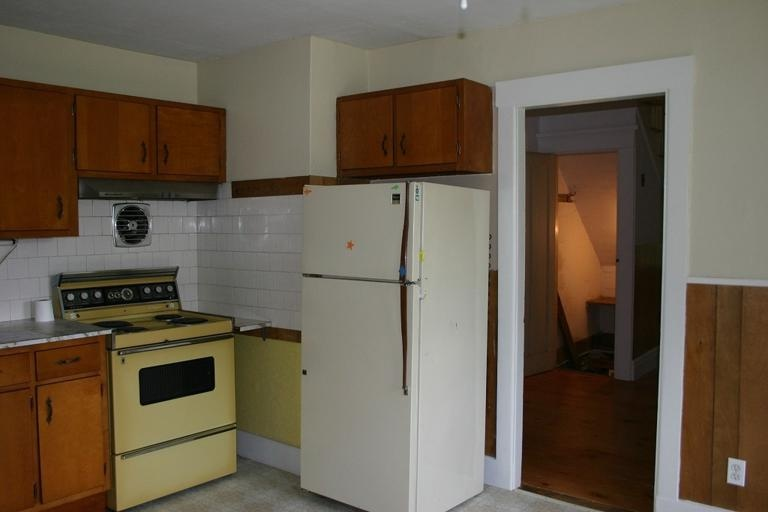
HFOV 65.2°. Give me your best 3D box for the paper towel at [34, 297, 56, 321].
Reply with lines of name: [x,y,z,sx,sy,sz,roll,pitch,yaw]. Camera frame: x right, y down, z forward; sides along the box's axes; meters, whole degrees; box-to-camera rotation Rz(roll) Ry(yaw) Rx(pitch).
paper towel: [-2.640,0.406,4.675,0.150,0.154,0.155,-3,8,-30]

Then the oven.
oven: [-1.756,1.208,5.227,1.043,1.490,1.250,-2,0,42]

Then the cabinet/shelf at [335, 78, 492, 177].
cabinet/shelf: [0.270,-1.007,4.788,0.839,0.477,0.305,1,0,34]
